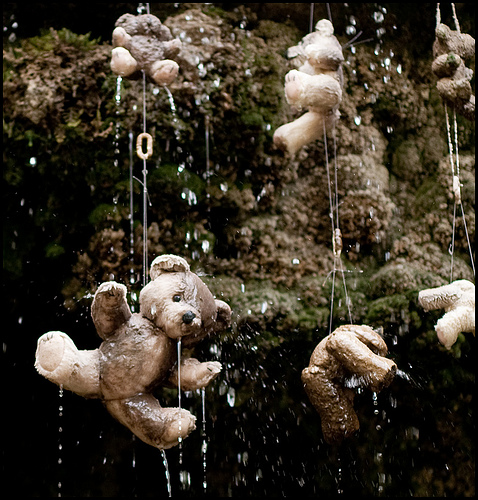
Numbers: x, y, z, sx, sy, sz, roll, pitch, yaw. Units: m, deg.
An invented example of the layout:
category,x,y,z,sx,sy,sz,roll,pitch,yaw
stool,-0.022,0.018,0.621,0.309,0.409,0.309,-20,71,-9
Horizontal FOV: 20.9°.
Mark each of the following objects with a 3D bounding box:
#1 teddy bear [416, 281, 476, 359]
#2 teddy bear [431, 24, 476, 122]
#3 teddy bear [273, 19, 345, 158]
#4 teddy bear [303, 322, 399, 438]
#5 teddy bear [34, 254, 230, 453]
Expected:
category,x,y,z,sx,sy,sz,roll,pitch,yaw
teddy bear,1.415,0.426,8.536,0.342,0.307,0.426,-8,22,-10
teddy bear,1.408,-1.166,8.491,0.311,0.619,0.157,-13,-16,31
teddy bear,0.525,-1.085,8.743,0.449,0.930,0.426,1,20,-45
teddy bear,0.742,0.864,8.598,0.541,0.842,0.501,0,18,16
teddy bear,-0.639,0.661,8.251,1.178,1.079,0.609,-4,20,0
